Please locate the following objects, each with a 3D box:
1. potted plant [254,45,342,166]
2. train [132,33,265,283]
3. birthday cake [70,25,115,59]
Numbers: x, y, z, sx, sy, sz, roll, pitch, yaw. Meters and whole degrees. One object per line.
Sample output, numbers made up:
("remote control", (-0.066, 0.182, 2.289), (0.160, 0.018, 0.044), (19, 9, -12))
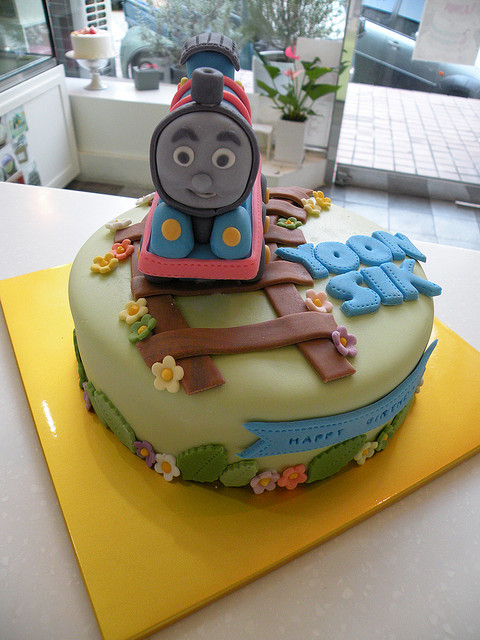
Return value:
("potted plant", (0.446, -1.778, 4.550), (0.631, 0.790, 0.680), (-5, 21, -8))
("train", (-0.106, -0.651, 1.883), (0.453, 0.657, 1.167), (4, 39, -1))
("birthday cake", (-1.322, -2.536, 4.844), (0.371, 0.244, 0.331), (-3, 47, -9))
